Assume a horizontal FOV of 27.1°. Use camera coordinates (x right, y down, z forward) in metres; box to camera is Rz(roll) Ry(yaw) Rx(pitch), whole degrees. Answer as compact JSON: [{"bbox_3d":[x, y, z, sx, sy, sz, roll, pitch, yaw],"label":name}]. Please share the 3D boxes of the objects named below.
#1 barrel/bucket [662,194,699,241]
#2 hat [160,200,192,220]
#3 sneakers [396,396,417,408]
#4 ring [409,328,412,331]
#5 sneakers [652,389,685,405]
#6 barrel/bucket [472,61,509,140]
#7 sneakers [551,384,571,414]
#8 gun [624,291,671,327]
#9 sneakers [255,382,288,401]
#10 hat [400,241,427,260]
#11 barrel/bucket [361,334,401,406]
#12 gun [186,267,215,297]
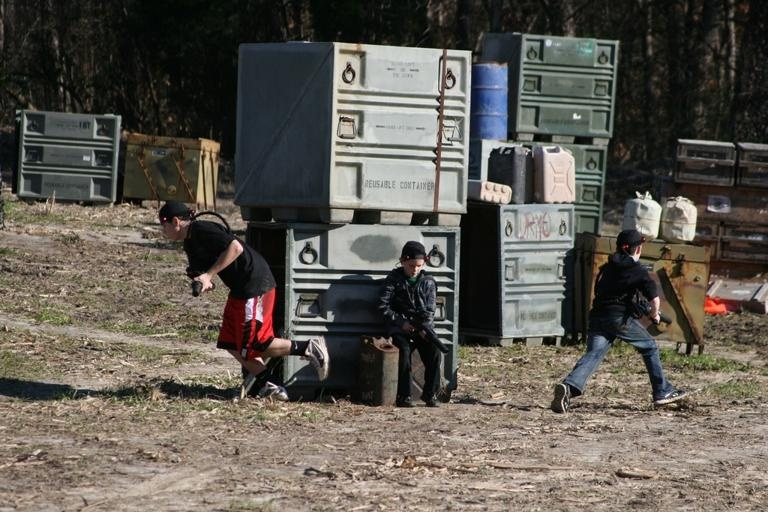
[{"bbox_3d":[5.865,-0.732,32.040,0.754,0.863,0.762,1,0,0],"label":"barrel/bucket"},{"bbox_3d":[-3.615,-0.790,27.685,0.396,0.319,0.327,2,-10,-12],"label":"hat"},{"bbox_3d":[0.399,2.609,28.402,0.393,0.181,0.139,-1,2,-6],"label":"sneakers"},{"bbox_3d":[0.465,1.308,28.425,0.057,0.059,0.032,2,8,7],"label":"ring"},{"bbox_3d":[5.053,2.507,28.573,0.589,0.243,0.240,-22,8,3],"label":"sneakers"},{"bbox_3d":[2.135,-3.197,32.819,0.782,1.431,0.350,6,-1,0],"label":"barrel/bucket"},{"bbox_3d":[3.100,2.516,28.316,0.222,0.641,0.261,3,9,31],"label":"sneakers"},{"bbox_3d":[4.646,1.021,28.730,0.540,0.838,0.298,-30,17,-2],"label":"gun"},{"bbox_3d":[-1.961,2.385,28.152,0.548,0.274,0.247,5,1,7],"label":"sneakers"},{"bbox_3d":[0.520,-0.093,28.226,0.277,0.314,0.390,0,16,-13],"label":"hat"},{"bbox_3d":[-0.095,2.056,28.321,0.707,1.132,0.307,6,-1,0],"label":"barrel/bucket"},{"bbox_3d":[-3.157,0.453,27.582,0.409,0.254,0.665,6,9,-8],"label":"gun"}]
